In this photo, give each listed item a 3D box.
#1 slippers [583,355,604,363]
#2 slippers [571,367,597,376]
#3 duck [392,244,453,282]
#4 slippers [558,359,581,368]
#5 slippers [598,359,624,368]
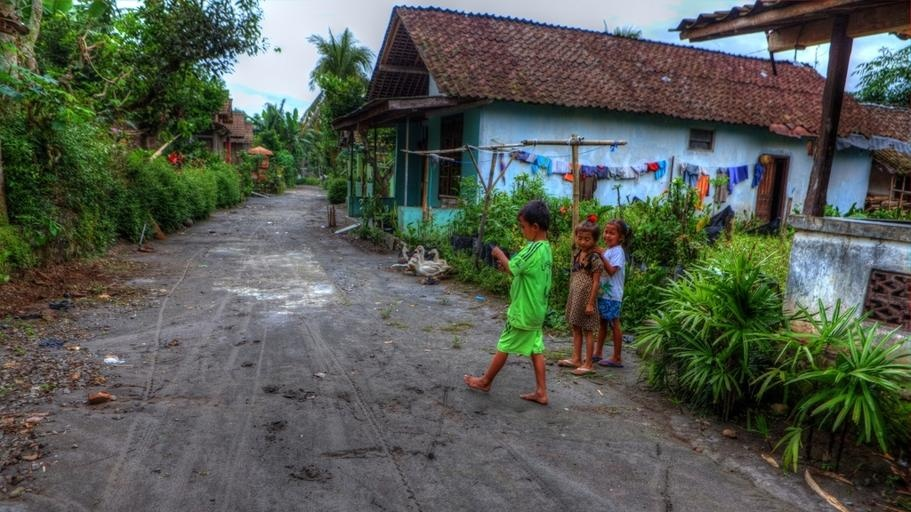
[{"bbox_3d":[2.153,1.583,8.890,0.336,0.136,0.117,5,-3,-22],"label":"slippers"},{"bbox_3d":[1.933,1.709,8.679,0.325,0.082,0.143,2,1,-12],"label":"slippers"},{"bbox_3d":[-0.782,0.177,13.827,0.701,0.699,1.668,-3,15,-41],"label":"duck"},{"bbox_3d":[1.739,1.653,8.856,0.243,0.078,0.132,7,-10,13],"label":"slippers"},{"bbox_3d":[2.391,1.651,8.890,0.281,0.085,0.154,0,1,10],"label":"slippers"}]
